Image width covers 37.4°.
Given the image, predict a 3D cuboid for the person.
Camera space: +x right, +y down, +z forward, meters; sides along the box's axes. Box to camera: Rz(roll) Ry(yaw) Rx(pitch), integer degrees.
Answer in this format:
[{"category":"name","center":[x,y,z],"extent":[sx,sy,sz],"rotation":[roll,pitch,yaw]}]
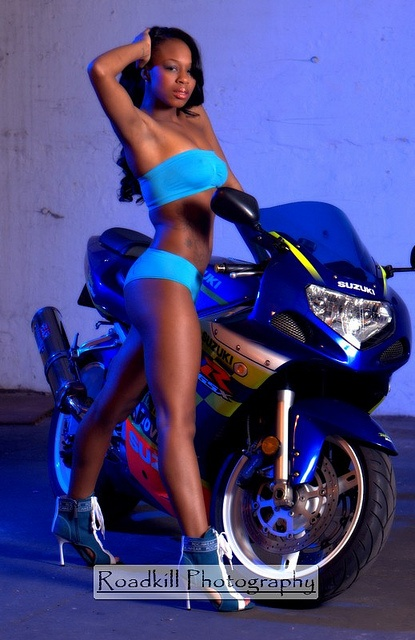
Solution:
[{"category":"person","center":[-0.107,-0.030,1.480],"extent":[0.403,1.371,0.526],"rotation":[2,-5,-12]}]

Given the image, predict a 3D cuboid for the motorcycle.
[{"category":"motorcycle","center":[0.139,0.191,1.924],"extent":[0.748,0.942,1.555],"rotation":[13,-3,-31]}]
